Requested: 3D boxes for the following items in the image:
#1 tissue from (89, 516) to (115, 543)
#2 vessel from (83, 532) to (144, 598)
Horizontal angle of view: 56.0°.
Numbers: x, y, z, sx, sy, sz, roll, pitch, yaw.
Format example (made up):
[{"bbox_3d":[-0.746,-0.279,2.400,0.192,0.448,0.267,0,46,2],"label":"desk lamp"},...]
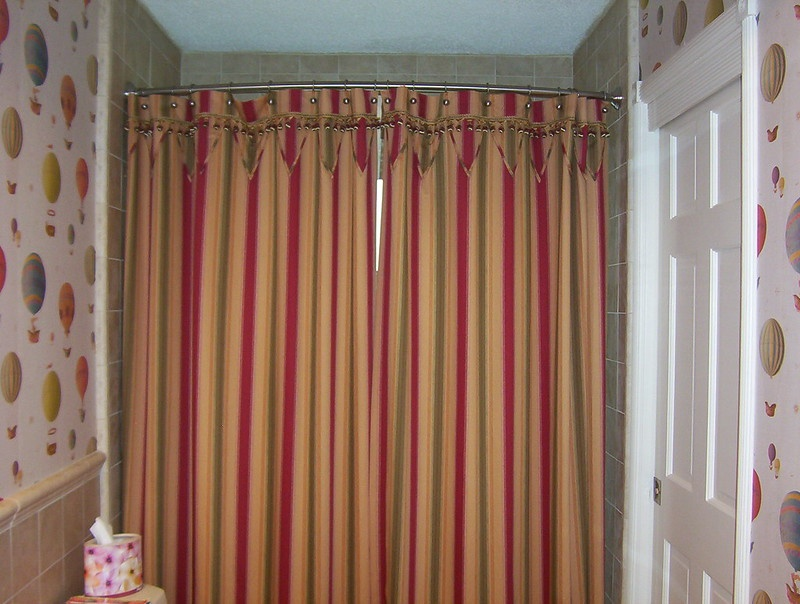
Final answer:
[{"bbox_3d":[-1.221,0.932,3.059,0.061,0.093,0.146,-13,18,-27],"label":"tissue"},{"bbox_3d":[-1.128,1.020,2.997,0.182,0.233,0.218,-6,-11,28],"label":"vessel"}]
